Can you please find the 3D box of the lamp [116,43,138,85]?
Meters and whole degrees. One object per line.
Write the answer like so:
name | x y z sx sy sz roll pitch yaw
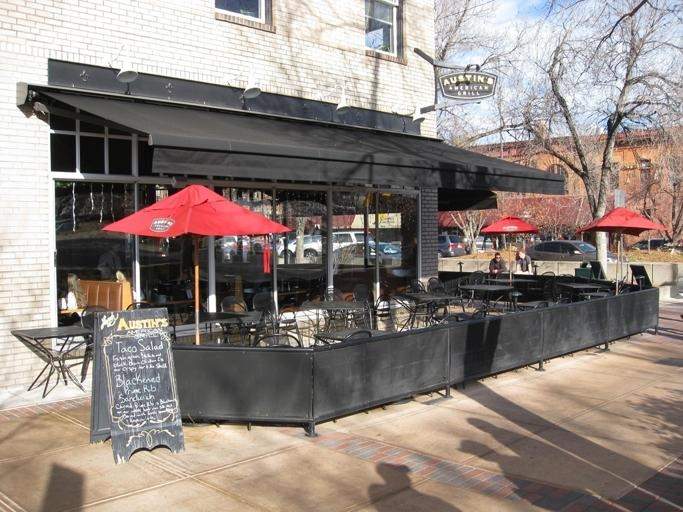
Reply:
lamp | -3.498 -3.159 11.250 0.348 0.650 0.619 -3 11 -16

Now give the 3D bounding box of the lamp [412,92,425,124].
lamp | 1.763 -3.399 15.906 0.275 0.628 0.600 2 11 5

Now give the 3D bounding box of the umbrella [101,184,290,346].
umbrella | -2.197 -0.059 10.046 2.415 2.063 2.360 0 1 -22

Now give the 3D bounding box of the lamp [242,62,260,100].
lamp | -1.654 -3.212 12.572 0.328 0.671 1.203 -1 10 -7

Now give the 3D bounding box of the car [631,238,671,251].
car | 17.856 -0.680 39.654 1.696 0.609 1.012 3 0 12

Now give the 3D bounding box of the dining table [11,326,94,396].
dining table | -4.235 1.575 10.471 1.116 1.042 1.134 3 2 39

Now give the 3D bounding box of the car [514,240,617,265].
car | 9.532 -0.205 29.761 2.666 0.978 1.228 -3 -1 45
